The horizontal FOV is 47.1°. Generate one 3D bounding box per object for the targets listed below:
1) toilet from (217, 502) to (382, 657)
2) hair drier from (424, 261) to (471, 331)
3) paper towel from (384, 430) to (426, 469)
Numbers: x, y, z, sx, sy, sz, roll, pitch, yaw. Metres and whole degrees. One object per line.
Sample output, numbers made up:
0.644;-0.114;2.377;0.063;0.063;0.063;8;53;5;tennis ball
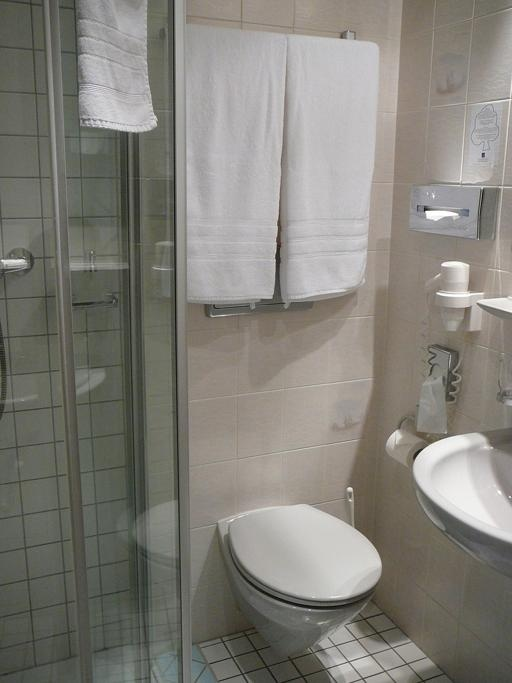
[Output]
0.115;0.688;1.630;0.383;0.293;0.461;1;11;-14;toilet
0.504;-0.127;1.536;0.078;0.182;0.157;-2;14;0;hair drier
0.429;0.304;1.707;0.097;0.102;0.117;9;-7;9;paper towel
